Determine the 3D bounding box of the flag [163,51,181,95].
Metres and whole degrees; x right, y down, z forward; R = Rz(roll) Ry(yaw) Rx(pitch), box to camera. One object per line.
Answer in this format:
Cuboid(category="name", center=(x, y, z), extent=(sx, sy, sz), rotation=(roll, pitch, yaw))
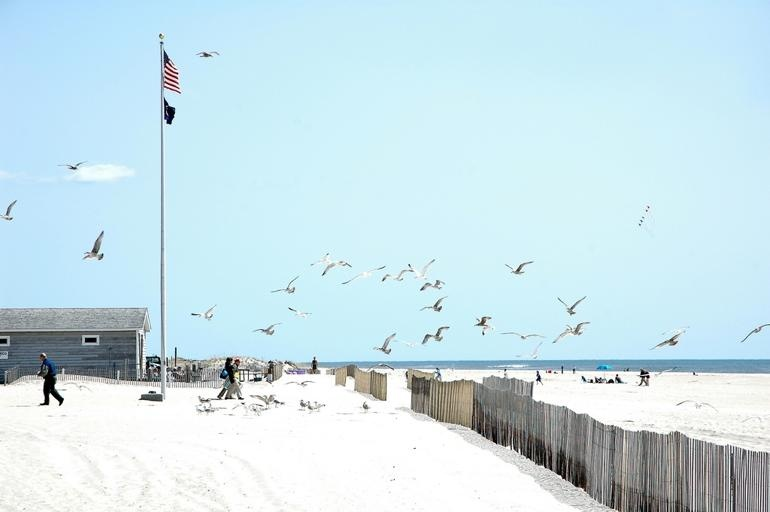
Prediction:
Cuboid(category="flag", center=(-9.674, -8.383, 41.788), extent=(0.671, 1.896, 1.757), rotation=(-1, -6, -14))
